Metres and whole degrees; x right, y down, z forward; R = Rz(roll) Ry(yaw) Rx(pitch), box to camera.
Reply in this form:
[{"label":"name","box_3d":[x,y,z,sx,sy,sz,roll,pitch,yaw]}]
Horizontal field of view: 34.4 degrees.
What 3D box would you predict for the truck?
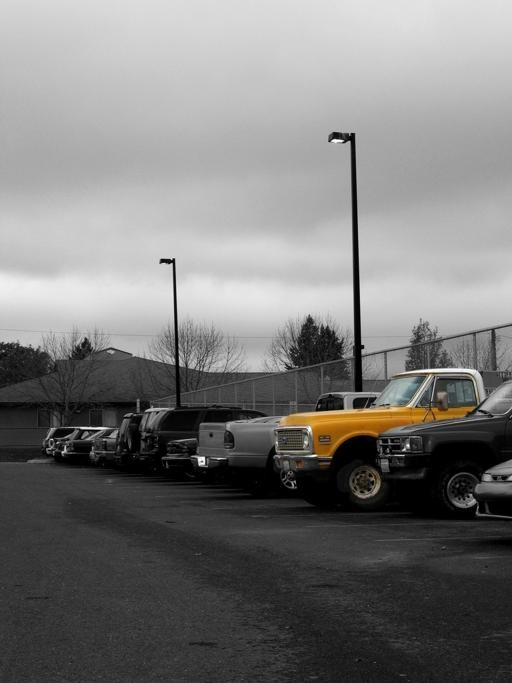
[{"label":"truck","box_3d":[2.171,1.618,14.265,3.153,1.725,2.173,2,-8,-17]}]
